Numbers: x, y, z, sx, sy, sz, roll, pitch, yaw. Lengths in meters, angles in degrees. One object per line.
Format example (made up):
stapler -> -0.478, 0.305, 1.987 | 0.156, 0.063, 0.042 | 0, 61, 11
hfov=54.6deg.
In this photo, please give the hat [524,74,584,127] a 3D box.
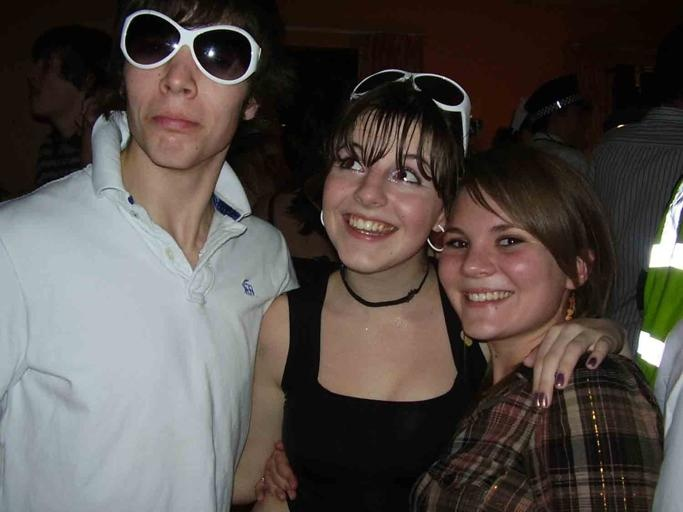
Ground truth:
hat -> 1.837, -1.361, 5.782 | 0.326, 0.191, 0.442 | -10, -10, -6
